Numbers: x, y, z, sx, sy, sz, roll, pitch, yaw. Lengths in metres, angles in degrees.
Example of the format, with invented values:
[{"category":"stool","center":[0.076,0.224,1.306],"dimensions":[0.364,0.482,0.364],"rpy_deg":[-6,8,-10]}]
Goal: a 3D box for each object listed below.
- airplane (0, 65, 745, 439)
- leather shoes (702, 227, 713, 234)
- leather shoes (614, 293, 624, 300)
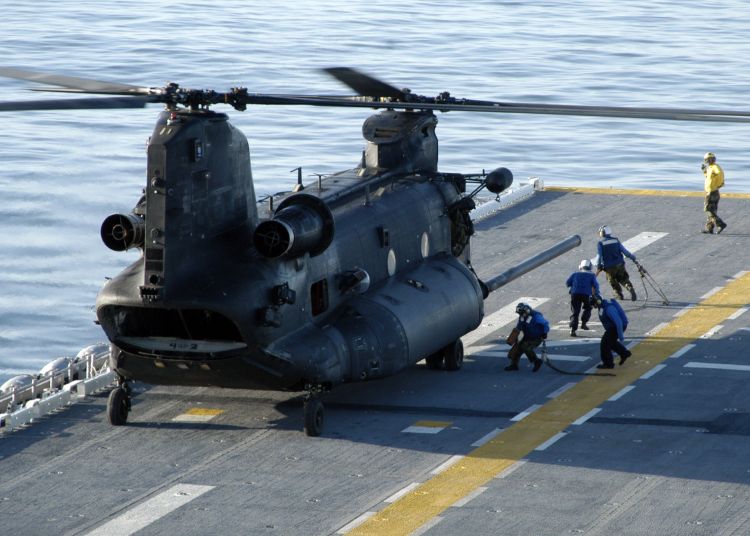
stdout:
[{"category":"airplane","center":[-0.636,0.107,44.963],"dimensions":[17.272,4.373,15.436],"rpy_deg":[6,11,30]},{"category":"leather shoes","center":[12.718,-1.458,57.481],"dimensions":[0.315,0.161,0.572],"rpy_deg":[0,5,9]},{"category":"leather shoes","center":[8.154,0.928,50.224],"dimensions":[0.298,0.197,0.652],"rpy_deg":[-2,-4,10]}]
